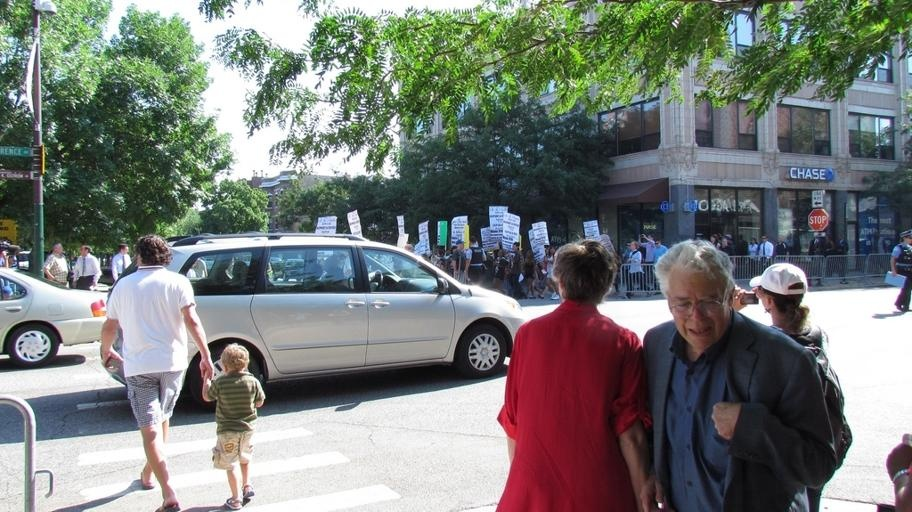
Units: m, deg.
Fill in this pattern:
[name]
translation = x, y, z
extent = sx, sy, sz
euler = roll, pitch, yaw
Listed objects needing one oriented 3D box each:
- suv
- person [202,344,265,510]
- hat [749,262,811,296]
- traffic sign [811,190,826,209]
[suv]
translation = -1.863, 0.895, 11.802
extent = 5.990, 2.094, 2.723
euler = -4, 1, -22
[person]
translation = -2.822, 2.133, 8.117
extent = 0.699, 2.000, 0.736
euler = -6, 14, -22
[hat]
translation = 3.492, 0.247, 6.948
extent = 0.377, 0.264, 0.494
euler = 1, 1, -34
[traffic sign]
translation = 17.200, -2.707, 29.934
extent = 0.421, 0.934, 1.945
euler = 5, 14, 26
